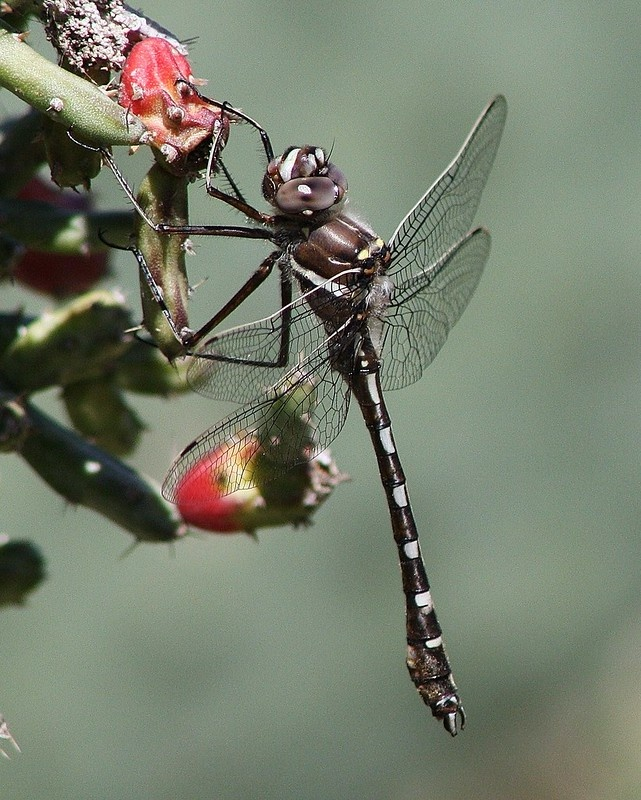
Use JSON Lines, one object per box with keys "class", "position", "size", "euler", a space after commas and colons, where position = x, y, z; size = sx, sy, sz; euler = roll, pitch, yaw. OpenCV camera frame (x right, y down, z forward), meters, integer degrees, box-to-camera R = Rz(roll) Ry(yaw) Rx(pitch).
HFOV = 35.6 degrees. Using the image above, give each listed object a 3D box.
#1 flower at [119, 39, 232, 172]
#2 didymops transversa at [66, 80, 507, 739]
{"class": "flower", "position": [-0.109, -0.204, 0.687], "size": [0.039, 0.071, 0.094], "euler": [-28, -79, 15]}
{"class": "didymops transversa", "position": [0.005, -0.052, 0.953], "size": [0.218, 0.570, 0.493], "euler": [23, -66, 21]}
